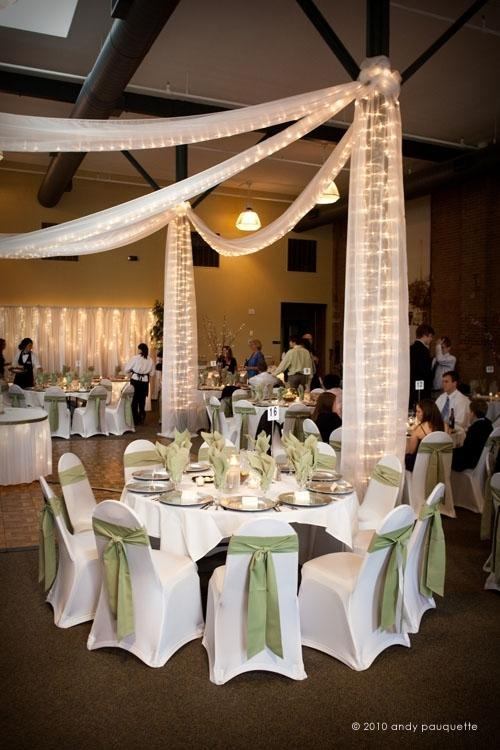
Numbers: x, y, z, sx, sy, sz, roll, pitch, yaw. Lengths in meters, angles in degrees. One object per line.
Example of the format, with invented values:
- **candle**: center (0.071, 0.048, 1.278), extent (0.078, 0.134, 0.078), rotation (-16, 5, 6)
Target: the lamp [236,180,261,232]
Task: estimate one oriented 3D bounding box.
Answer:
- **lamp**: center (-0.018, -3.651, 11.467), extent (0.479, 1.023, 0.468), rotation (4, -5, -43)
